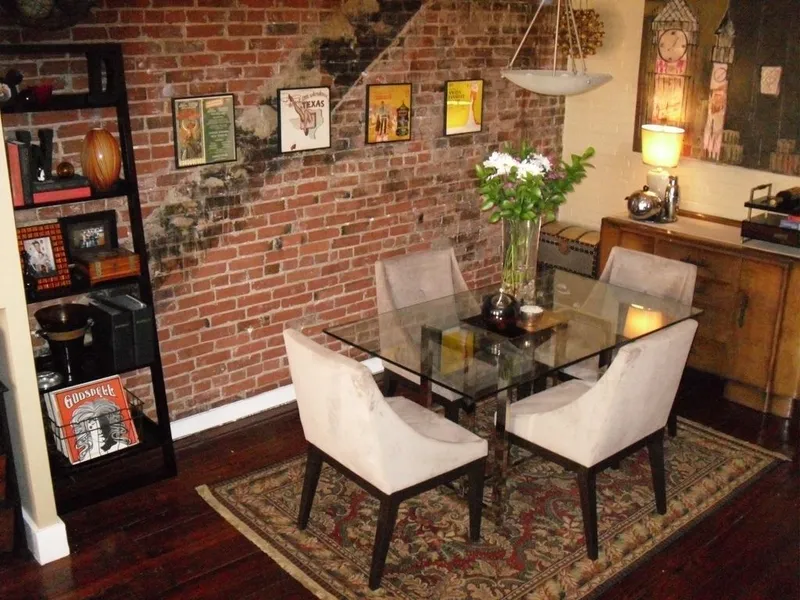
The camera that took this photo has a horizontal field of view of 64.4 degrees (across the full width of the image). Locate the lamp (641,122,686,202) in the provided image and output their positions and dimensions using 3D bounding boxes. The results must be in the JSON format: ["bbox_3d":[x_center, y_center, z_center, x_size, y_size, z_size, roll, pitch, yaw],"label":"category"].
[{"bbox_3d":[2.034,-1.100,4.958,0.322,0.517,0.356,5,21,23],"label":"lamp"}]

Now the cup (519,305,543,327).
[{"bbox_3d":[0.721,0.071,3.459,0.123,0.082,0.122,0,21,0],"label":"cup"}]

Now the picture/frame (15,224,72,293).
[{"bbox_3d":[-1.796,-0.204,3.193,0.292,0.395,0.027,-14,8,-26],"label":"picture/frame"}]

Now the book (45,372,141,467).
[{"bbox_3d":[-1.656,0.643,3.401,0.434,0.420,0.246,-19,19,-34],"label":"book"}]

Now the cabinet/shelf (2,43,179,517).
[{"bbox_3d":[-1.666,-0.106,3.384,0.801,2.374,0.593,-15,22,-29],"label":"cabinet/shelf"}]

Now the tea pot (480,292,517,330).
[{"bbox_3d":[0.513,0.048,3.368,0.189,0.220,0.189,1,7,0],"label":"tea pot"}]

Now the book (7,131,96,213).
[{"bbox_3d":[-1.725,-0.655,3.112,0.336,0.352,0.218,-13,21,-24],"label":"book"}]

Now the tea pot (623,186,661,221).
[{"bbox_3d":[1.864,-0.735,4.901,0.276,0.246,0.208,2,14,12],"label":"tea pot"}]
